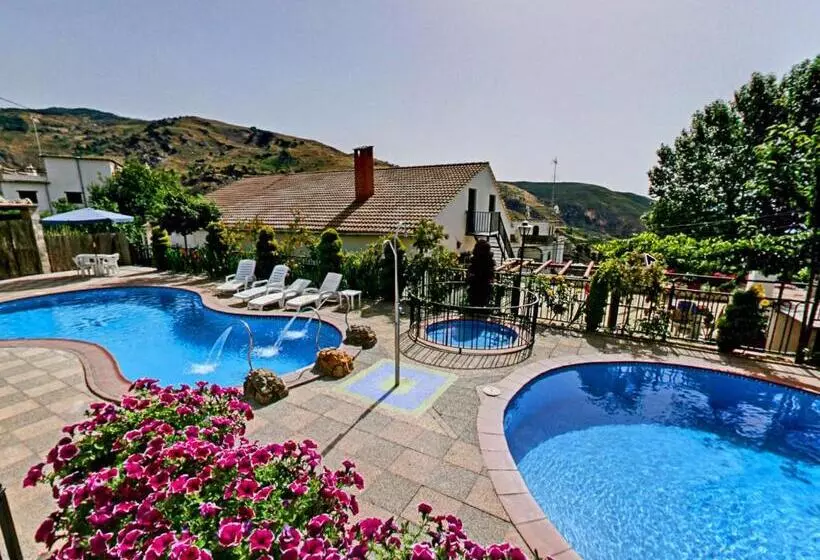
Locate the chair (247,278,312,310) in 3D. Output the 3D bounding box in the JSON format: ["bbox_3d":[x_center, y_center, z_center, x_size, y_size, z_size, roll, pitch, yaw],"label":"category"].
[{"bbox_3d":[-4.815,0.498,14.673,1.041,0.712,2.058,6,12,39],"label":"chair"}]

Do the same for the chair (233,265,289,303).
[{"bbox_3d":[-5.803,0.083,15.775,1.070,1.038,2.387,7,12,31],"label":"chair"}]

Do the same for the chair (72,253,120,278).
[{"bbox_3d":[-15.149,-0.801,19.244,1.521,0.996,1.728,-2,10,-29],"label":"chair"}]

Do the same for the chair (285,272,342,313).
[{"bbox_3d":[-3.456,0.420,14.420,1.027,0.947,2.084,12,19,32],"label":"chair"}]
